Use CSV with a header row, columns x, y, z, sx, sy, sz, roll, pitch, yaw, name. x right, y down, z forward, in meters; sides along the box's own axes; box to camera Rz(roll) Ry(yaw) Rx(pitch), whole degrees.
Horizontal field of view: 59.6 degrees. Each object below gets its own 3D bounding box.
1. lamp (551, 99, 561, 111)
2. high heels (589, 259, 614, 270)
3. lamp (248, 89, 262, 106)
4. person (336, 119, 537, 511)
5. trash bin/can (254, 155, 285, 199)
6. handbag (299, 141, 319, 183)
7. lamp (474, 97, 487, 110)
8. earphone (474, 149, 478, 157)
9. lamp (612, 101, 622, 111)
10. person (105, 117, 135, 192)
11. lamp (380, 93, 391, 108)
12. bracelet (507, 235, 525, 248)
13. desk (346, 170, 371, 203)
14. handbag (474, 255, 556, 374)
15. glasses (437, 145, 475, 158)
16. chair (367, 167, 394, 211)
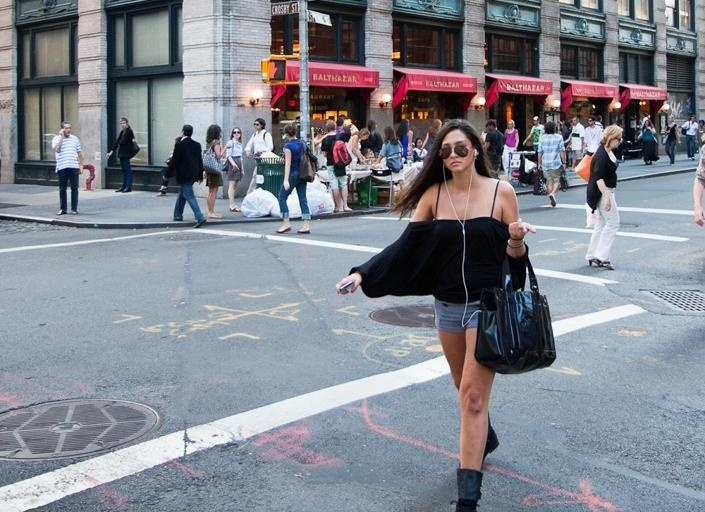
x,y,z,sx,sy,sz,roll,pitch,yaw,name
10.271,-7.717,30.961,0.265,0.529,0.882,5,9,38,lamp
3.978,0.123,9.904,0.144,0.161,0.386,-2,-2,-43,high heels
-3.199,-5.334,20.624,0.470,0.547,0.190,-1,7,-14,lamp
0.590,0.261,3.716,0.961,2.202,0.914,6,9,41,person
-2.311,-2.252,17.543,1.101,1.284,1.120,0,-1,-5,trash bin/can
-1.004,-2.153,13.980,0.306,0.864,0.653,0,7,1,handbag
5.679,-6.858,27.302,0.255,0.525,0.756,5,9,38,lamp
0.764,-0.648,3.799,0.028,0.038,0.034,-4,4,4,earphone
14.994,-8.583,34.748,0.488,0.495,0.681,7,1,28,lamp
-8.282,-3.731,22.450,0.911,2.680,1.044,-3,7,-30,person
1.322,-6.054,23.749,0.652,0.620,0.228,-6,9,-43,lamp
0.932,-0.088,3.515,0.068,0.041,0.088,-1,4,0,bracelet
0.237,-2.121,18.593,0.844,0.994,0.866,-1,8,2,desk
0.875,0.337,3.428,0.440,0.590,0.291,-2,7,-16,handbag
0.613,-0.640,3.717,0.204,0.102,0.134,3,8,17,glasses
0.865,-2.102,18.358,0.726,1.135,0.835,-2,9,13,chair
